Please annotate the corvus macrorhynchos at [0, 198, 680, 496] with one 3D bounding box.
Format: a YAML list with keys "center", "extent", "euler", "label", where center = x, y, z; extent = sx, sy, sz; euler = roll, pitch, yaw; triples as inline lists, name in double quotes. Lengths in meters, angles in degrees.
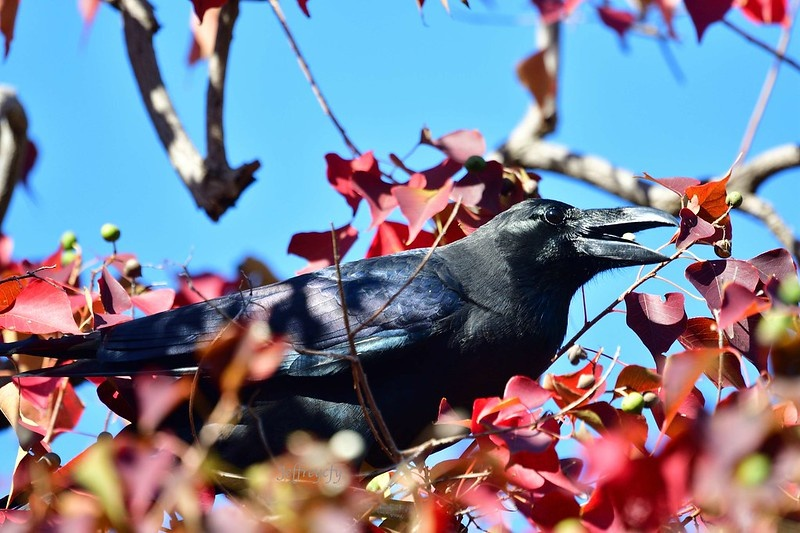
- center: [0.004, 0.368, 5.047]
  extent: [2.662, 1.004, 0.841]
  euler: [7, -24, 2]
  label: "corvus macrorhynchos"
